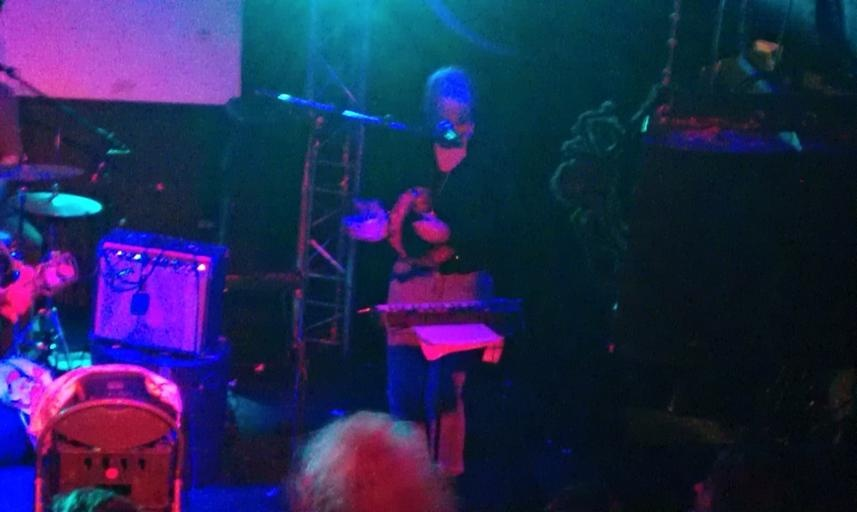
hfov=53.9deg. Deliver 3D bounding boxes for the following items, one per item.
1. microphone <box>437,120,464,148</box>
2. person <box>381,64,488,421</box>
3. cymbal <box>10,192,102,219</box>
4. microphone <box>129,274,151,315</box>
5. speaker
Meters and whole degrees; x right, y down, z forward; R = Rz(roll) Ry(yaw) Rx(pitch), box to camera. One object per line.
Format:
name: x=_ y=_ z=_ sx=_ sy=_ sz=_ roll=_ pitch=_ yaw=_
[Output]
microphone: x=0.178 y=-1.041 z=7.158 sx=0.238 sy=0.225 sz=0.174 roll=-5 pitch=30 yaw=-2
person: x=0.072 y=-0.107 z=7.093 sx=0.829 sy=2.943 sz=0.451 roll=0 pitch=-9 yaw=1
cymbal: x=-3.142 y=-0.442 z=7.202 sx=0.658 sy=0.183 sz=0.276 roll=3 pitch=-10 yaw=-21
microphone: x=-2.343 y=0.317 z=6.846 sx=0.157 sy=0.312 sz=0.062 roll=-3 pitch=-9 yaw=17
speaker: x=-2.176 y=0.338 z=7.117 sx=1.059 sy=0.904 sz=0.545 roll=10 pitch=7 yaw=17
